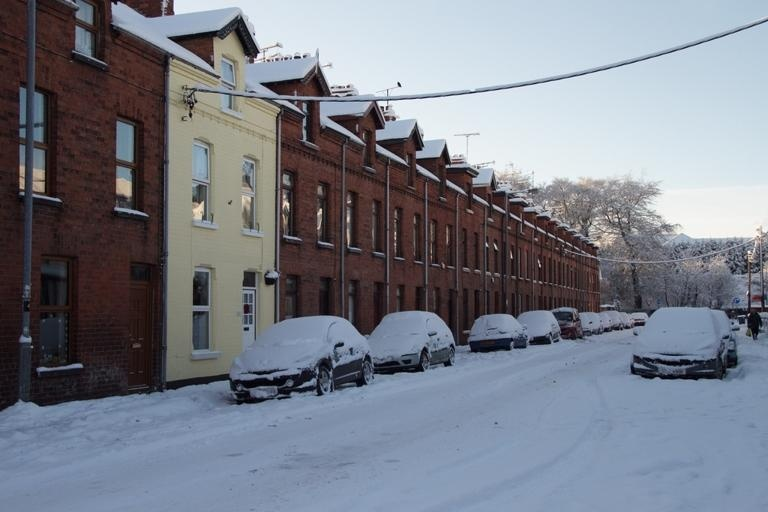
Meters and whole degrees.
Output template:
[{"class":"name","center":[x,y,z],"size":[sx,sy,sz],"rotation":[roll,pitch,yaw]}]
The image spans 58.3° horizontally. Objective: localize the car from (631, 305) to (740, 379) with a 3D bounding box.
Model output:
[{"class":"car","center":[8.555,2.485,20.174],"size":[2.242,2.194,2.743],"rotation":[-8,-11,38]}]

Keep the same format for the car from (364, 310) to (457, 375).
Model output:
[{"class":"car","center":[0.954,3.039,24.682],"size":[2.148,2.196,4.338],"rotation":[-7,-11,31]}]

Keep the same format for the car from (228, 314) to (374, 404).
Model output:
[{"class":"car","center":[-2.119,2.650,18.377],"size":[1.906,2.290,4.097],"rotation":[-7,-11,31]}]

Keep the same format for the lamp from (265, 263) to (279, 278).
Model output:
[{"class":"lamp","center":[-3.827,0.549,23.763],"size":[0.297,0.549,0.521],"rotation":[1,-11,-3]}]
